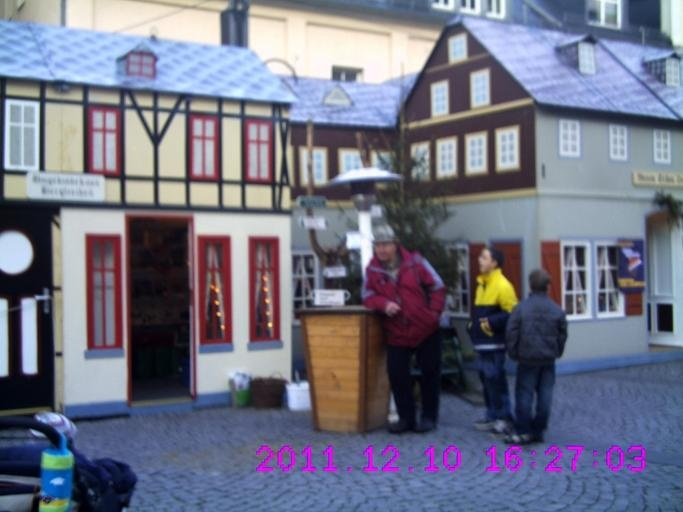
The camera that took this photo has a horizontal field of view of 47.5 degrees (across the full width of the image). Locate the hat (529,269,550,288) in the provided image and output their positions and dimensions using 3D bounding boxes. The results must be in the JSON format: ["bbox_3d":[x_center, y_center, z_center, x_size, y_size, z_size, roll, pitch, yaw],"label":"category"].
[{"bbox_3d":[2.685,0.310,10.591,0.183,0.315,0.279,-1,-9,6],"label":"hat"}]

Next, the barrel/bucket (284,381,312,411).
[{"bbox_3d":[-0.775,2.449,13.564,0.430,0.466,0.482,-3,-1,-2],"label":"barrel/bucket"}]

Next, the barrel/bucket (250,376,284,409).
[{"bbox_3d":[-1.321,2.388,13.684,0.463,0.371,0.520,0,-6,12],"label":"barrel/bucket"}]

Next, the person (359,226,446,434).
[{"bbox_3d":[0.912,1.031,11.009,1.100,2.990,0.537,-2,-2,2],"label":"person"}]

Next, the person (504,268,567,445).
[{"bbox_3d":[2.611,1.361,10.532,0.854,1.804,0.431,-3,-2,14],"label":"person"}]
